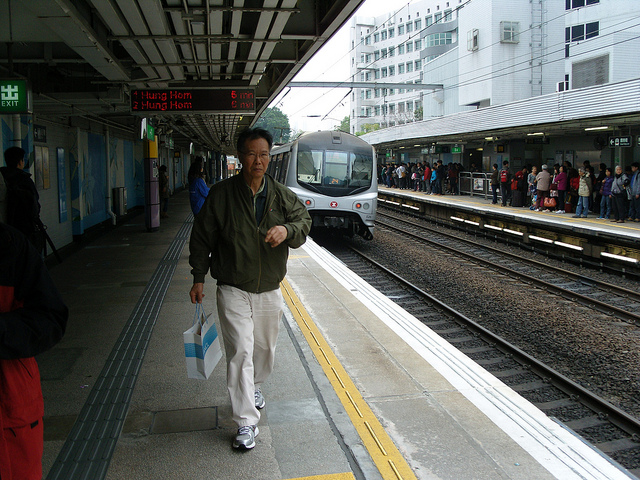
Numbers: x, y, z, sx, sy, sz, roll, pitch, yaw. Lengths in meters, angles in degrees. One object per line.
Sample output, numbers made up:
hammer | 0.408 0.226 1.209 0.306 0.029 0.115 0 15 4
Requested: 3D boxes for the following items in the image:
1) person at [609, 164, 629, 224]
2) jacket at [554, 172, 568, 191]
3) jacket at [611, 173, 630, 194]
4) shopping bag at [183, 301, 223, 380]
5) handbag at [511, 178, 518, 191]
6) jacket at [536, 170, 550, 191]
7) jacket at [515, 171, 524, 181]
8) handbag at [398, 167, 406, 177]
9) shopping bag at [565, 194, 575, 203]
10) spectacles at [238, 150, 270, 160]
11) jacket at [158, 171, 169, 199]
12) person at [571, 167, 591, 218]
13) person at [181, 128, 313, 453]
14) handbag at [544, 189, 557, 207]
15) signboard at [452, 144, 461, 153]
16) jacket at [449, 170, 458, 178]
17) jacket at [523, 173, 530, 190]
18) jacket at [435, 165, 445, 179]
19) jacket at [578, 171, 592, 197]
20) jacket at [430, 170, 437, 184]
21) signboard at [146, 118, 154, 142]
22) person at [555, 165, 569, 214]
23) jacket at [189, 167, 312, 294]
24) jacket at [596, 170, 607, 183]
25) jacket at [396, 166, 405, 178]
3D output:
person | 10.446 -1.584 15.937 0.542 1.887 0.830 5 10 33
jacket | 9.904 -2.376 18.683 0.477 0.737 0.351 4 10 28
jacket | 10.571 -1.941 15.988 0.548 0.389 0.570 -26 17 11
shopping bag | -0.934 0.843 3.606 0.260 0.632 0.441 -2 9 -5
handbag | 9.072 -2.540 21.226 0.123 0.361 0.242 5 -3 -38
jacket | 9.595 -2.539 19.562 0.466 0.877 0.310 4 10 28
jacket | 9.372 -2.962 21.329 0.332 0.390 0.533 3 10 21
handbag | 6.392 -5.269 35.413 0.701 0.859 0.829 2 8 11
shopping bag | 10.205 -1.675 18.624 0.271 0.351 0.529 7 12 41
spectacles | -0.485 -0.638 3.469 0.197 0.060 0.092 -3 9 -10
jacket | -6.332 -2.187 18.489 0.322 1.160 1.611 -4 9 -18
person | 10.002 -1.775 17.326 0.538 1.847 0.656 3 10 25
person | -0.575 0.374 3.589 0.982 2.358 0.969 0 5 -18
handbag | 9.712 -1.728 19.131 0.375 0.920 0.608 0 0 -41
signboard | 9.168 -6.100 30.507 0.542 0.546 1.060 2 10 18
jacket | 8.268 -4.016 28.210 0.613 0.610 0.346 1 -8 -1
jacket | 9.703 -2.739 21.479 0.200 0.765 0.827 4 10 29
jacket | 7.386 -4.170 28.111 0.525 0.829 0.529 1 9 15
jacket | 10.069 -2.097 17.228 0.450 0.959 0.345 3 9 22
jacket | 7.220 -3.915 28.402 0.449 0.866 0.794 9 2 11
signboard | -5.184 -3.375 13.908 0.144 0.646 0.979 -3 9 -13
person | 9.873 -2.078 18.646 0.444 1.908 0.524 3 10 24
jacket | -0.556 -0.054 3.634 0.941 0.897 0.567 4 10 -11
jacket | 11.061 -2.474 17.903 0.181 0.509 0.508 12 -7 23
jacket | 6.329 -5.284 35.629 0.257 0.868 0.894 -4 9 -18
